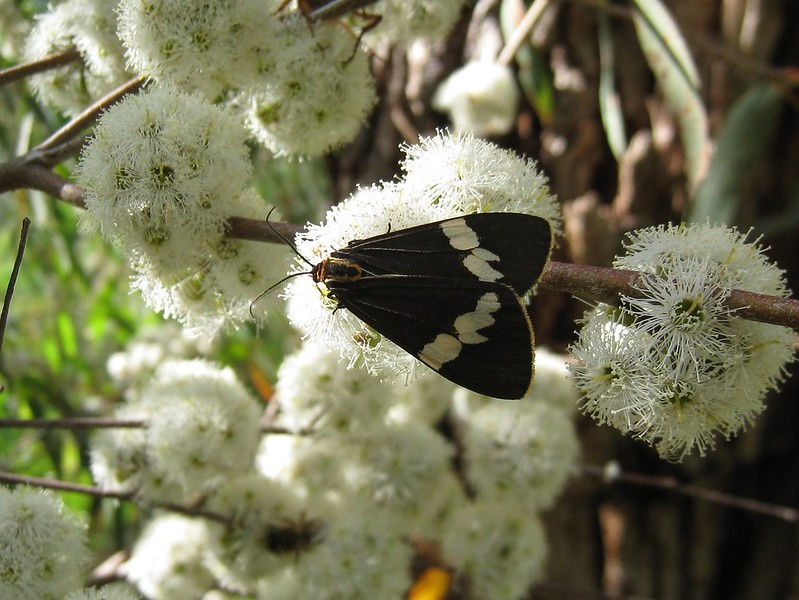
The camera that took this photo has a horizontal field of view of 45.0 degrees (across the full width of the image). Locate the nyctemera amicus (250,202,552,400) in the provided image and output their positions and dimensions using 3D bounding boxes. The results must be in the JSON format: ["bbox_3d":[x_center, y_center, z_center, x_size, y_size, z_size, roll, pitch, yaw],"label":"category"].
[{"bbox_3d":[-0.015,-0.001,1.594,0.533,0.308,0.128,7,45,15],"label":"nyctemera amicus"}]
